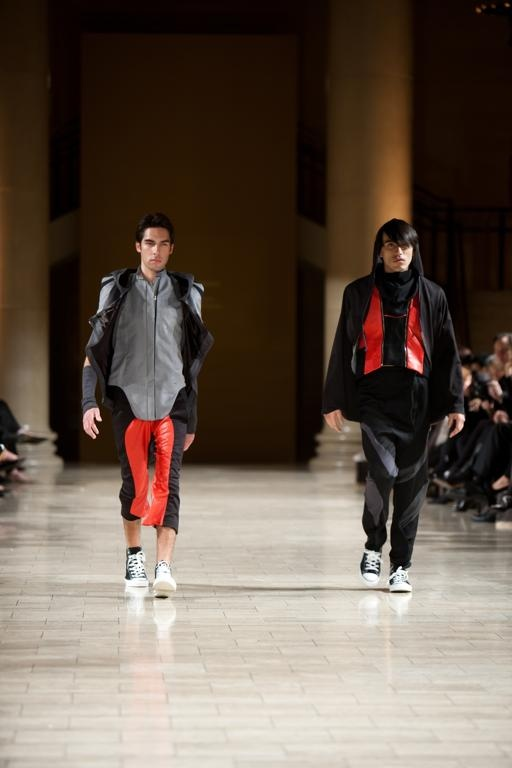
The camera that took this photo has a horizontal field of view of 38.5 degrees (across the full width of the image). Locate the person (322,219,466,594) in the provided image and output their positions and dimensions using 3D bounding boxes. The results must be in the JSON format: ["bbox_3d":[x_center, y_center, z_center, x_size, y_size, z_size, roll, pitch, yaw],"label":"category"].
[{"bbox_3d":[0.605,0.100,3.307,0.607,1.660,0.320,2,5,4],"label":"person"}]

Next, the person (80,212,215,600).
[{"bbox_3d":[-0.483,0.108,3.270,0.581,1.751,0.497,1,5,-13],"label":"person"}]

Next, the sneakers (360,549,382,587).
[{"bbox_3d":[0.532,0.854,3.433,0.069,0.083,0.204,3,5,3],"label":"sneakers"}]

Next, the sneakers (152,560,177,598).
[{"bbox_3d":[-0.396,0.853,3.162,0.091,0.178,0.239,1,4,-6],"label":"sneakers"}]
